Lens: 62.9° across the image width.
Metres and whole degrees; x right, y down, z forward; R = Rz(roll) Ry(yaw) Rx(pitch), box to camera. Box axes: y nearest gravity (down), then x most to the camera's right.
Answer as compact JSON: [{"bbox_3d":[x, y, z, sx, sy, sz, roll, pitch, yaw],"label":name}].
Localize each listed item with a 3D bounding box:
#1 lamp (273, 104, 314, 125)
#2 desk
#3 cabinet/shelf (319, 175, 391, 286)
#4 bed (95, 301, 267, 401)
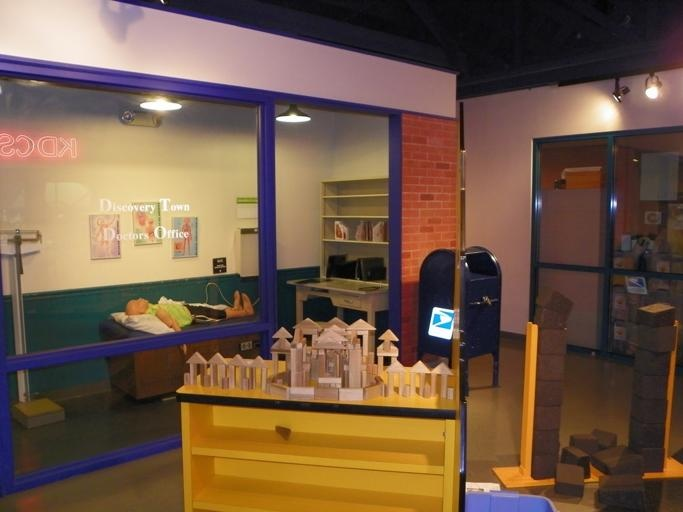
[{"bbox_3d":[-0.585,-1.723,6.850,0.473,0.210,0.478,-2,6,-23],"label":"lamp"},{"bbox_3d":[-0.095,0.722,7.432,1.087,0.764,0.592,6,15,22],"label":"desk"},{"bbox_3d":[0.201,-0.345,7.845,0.448,1.770,1.488,1,0,-42],"label":"cabinet/shelf"},{"bbox_3d":[-1.375,1.296,5.895,1.165,0.904,2.145,2,-17,-6],"label":"bed"}]
